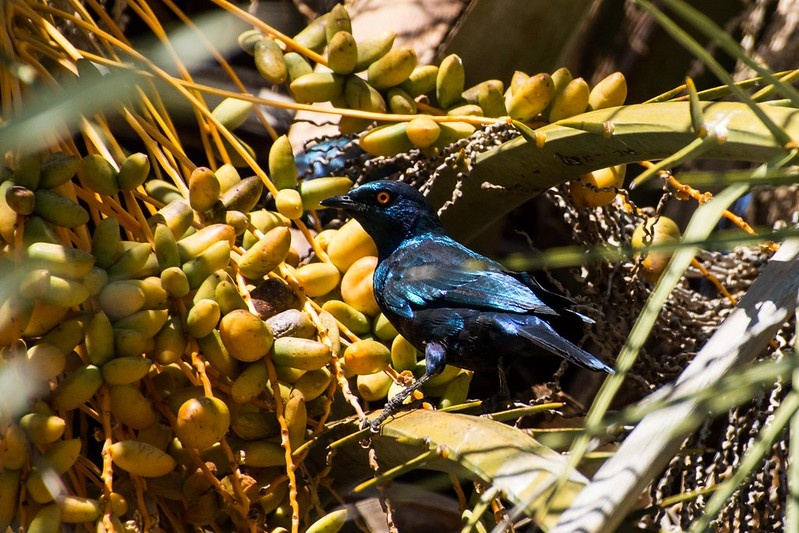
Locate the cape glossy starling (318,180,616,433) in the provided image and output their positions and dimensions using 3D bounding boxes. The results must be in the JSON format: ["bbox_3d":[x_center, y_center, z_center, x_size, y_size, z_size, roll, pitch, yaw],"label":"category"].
[{"bbox_3d":[0.118,0.049,1.680,0.505,0.421,0.201,-2,-4,31],"label":"cape glossy starling"}]
